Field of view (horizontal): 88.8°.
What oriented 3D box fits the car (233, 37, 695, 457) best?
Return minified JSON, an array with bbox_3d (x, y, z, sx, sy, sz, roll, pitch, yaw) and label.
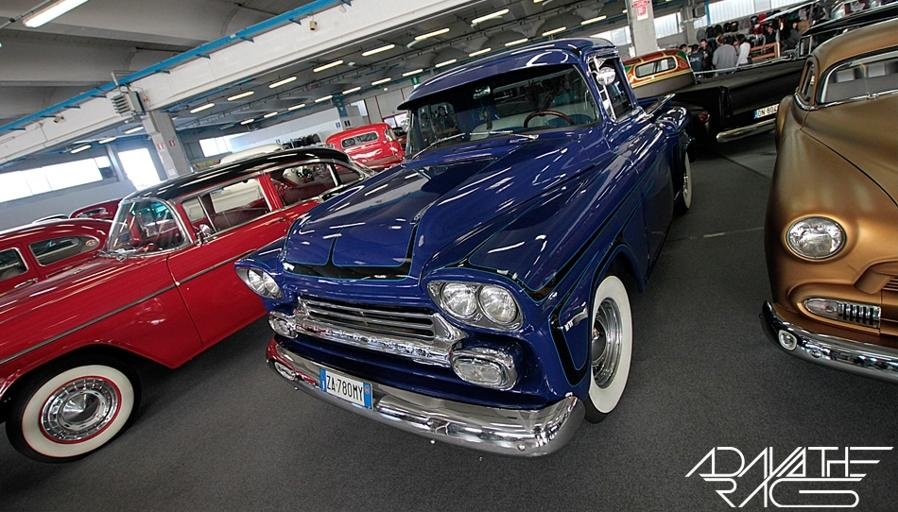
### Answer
[{"bbox_3d":[0.271,-0.156,4.283,3.719,3.293,2.435,-26,23,-33],"label":"car"}]
